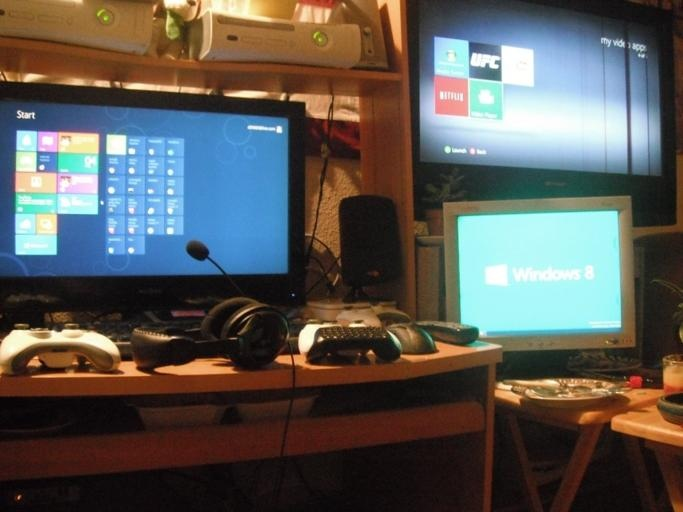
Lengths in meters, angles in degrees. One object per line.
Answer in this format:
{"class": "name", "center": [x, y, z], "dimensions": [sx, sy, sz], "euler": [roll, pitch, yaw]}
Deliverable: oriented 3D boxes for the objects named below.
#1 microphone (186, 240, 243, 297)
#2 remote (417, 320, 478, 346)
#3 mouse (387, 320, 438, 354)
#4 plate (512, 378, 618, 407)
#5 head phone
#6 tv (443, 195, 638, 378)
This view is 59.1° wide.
{"class": "microphone", "center": [-0.313, 0.036, 1.538], "dimensions": [0.135, 0.161, 0.288], "euler": [-1, 4, -10]}
{"class": "remote", "center": [0.275, 0.183, 1.552], "dimensions": [0.067, 0.031, 0.120], "euler": [-1, 6, -40]}
{"class": "mouse", "center": [0.173, 0.184, 1.453], "dimensions": [0.077, 0.026, 0.072], "euler": [6, 13, -13]}
{"class": "plate", "center": [0.580, 0.353, 1.561], "dimensions": [0.270, 0.034, 0.197], "euler": [0, 4, 14]}
{"class": "head phone", "center": [-0.279, 0.182, 1.305], "dimensions": [0.223, 0.098, 0.185], "euler": [-1, 0, -28]}
{"class": "tv", "center": [0.556, 0.078, 1.708], "dimensions": [0.503, 0.485, 0.270], "euler": [-2, -6, -3]}
